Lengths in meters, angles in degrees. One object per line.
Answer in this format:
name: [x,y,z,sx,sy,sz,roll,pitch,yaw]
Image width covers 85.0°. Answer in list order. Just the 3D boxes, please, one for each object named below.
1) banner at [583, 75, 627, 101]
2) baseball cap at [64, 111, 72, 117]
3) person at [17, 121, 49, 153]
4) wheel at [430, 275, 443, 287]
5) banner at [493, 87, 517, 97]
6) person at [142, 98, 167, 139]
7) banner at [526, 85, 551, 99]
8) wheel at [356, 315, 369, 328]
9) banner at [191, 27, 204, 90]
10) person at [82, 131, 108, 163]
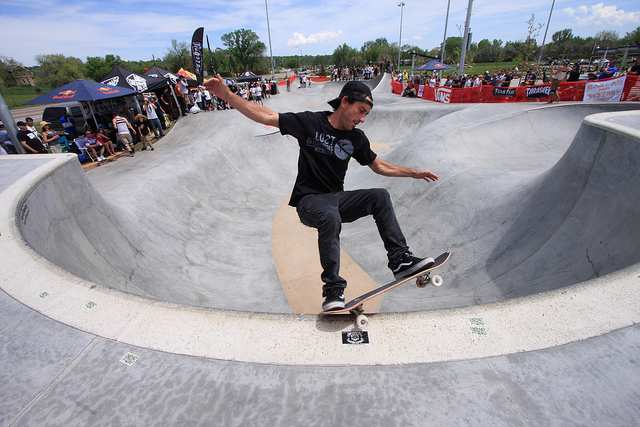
banner: [12.002,-5.229,14.555,1.670,1.195,0.107,-3,30,11]
baseball cap: [-9.174,-3.591,12.526,0.165,0.190,0.346,-23,33,-28]
person: [-8.029,-2.046,9.567,0.410,0.944,0.623,-23,34,-27]
wheel: [1.363,0.789,4.087,0.151,0.140,0.051,2,58,0]
banner: [9.345,-6.124,17.505,0.595,0.278,0.790,-30,35,-26]
person: [-6.773,-3.909,13.956,0.519,1.533,0.512,-9,15,-3]
banner: [10.091,-5.634,16.110,0.235,0.622,1.087,-19,31,-22]
wheel: [0.433,1.092,3.508,0.136,0.097,0.109,-7,29,-4]
banner: [-4.042,-4.879,11.390,0.470,2.756,0.091,21,48,0]
person: [-7.667,-2.284,11.671,0.550,0.932,1.287,-22,33,-27]
